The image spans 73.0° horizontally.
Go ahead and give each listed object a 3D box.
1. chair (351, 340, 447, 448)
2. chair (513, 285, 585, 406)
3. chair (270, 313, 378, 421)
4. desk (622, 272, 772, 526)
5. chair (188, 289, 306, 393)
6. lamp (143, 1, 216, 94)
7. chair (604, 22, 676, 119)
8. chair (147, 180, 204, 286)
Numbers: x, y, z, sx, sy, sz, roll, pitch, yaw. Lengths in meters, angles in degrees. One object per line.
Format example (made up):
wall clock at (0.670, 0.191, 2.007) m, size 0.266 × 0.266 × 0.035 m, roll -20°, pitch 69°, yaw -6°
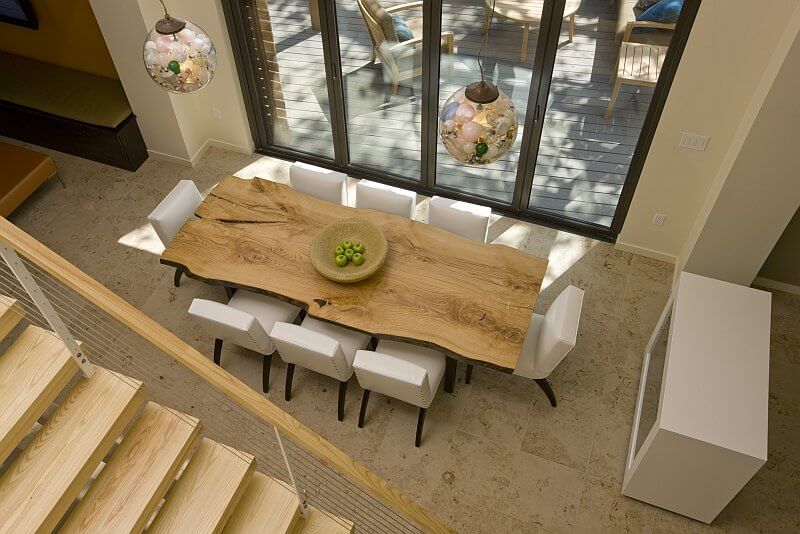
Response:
chair at (-0.002, 1.010, 4.890) m, size 0.660 × 1.124 × 0.773 m, roll 11°, pitch 43°, yaw 12°
chair at (1.293, 0.711, 4.789) m, size 0.431 × 1.052 × 0.555 m, roll 14°, pitch 47°, yaw 16°
chair at (-0.724, 0.801, 5.031) m, size 0.644 × 1.113 × 0.746 m, roll 14°, pitch 44°, yaw 11°
desk at (2.403, 1.140, 4.423) m, size 0.734 × 1.315 × 1.274 m, roll 14°, pitch 47°, yaw 16°
chair at (-1.295, 0.664, 4.691) m, size 0.494 × 0.858 × 0.622 m, roll 16°, pitch 60°, yaw 6°
lamp at (-1.707, -1.631, 4.145) m, size 0.502 × 0.496 × 0.320 m, roll -16°, pitch 46°, yaw -13°
chair at (2.262, -1.814, 5.026) m, size 0.541 × 0.767 × 0.500 m, roll 20°, pitch 90°, yaw 27°
chair at (-2.271, -0.282, 5.410) m, size 0.548 × 0.960 × 0.551 m, roll 24°, pitch 64°, yaw 1°
